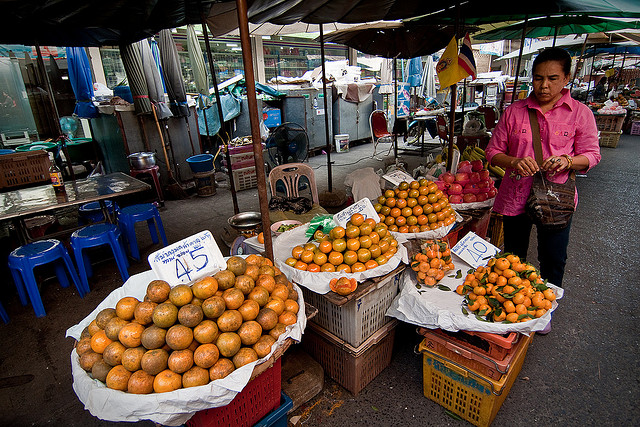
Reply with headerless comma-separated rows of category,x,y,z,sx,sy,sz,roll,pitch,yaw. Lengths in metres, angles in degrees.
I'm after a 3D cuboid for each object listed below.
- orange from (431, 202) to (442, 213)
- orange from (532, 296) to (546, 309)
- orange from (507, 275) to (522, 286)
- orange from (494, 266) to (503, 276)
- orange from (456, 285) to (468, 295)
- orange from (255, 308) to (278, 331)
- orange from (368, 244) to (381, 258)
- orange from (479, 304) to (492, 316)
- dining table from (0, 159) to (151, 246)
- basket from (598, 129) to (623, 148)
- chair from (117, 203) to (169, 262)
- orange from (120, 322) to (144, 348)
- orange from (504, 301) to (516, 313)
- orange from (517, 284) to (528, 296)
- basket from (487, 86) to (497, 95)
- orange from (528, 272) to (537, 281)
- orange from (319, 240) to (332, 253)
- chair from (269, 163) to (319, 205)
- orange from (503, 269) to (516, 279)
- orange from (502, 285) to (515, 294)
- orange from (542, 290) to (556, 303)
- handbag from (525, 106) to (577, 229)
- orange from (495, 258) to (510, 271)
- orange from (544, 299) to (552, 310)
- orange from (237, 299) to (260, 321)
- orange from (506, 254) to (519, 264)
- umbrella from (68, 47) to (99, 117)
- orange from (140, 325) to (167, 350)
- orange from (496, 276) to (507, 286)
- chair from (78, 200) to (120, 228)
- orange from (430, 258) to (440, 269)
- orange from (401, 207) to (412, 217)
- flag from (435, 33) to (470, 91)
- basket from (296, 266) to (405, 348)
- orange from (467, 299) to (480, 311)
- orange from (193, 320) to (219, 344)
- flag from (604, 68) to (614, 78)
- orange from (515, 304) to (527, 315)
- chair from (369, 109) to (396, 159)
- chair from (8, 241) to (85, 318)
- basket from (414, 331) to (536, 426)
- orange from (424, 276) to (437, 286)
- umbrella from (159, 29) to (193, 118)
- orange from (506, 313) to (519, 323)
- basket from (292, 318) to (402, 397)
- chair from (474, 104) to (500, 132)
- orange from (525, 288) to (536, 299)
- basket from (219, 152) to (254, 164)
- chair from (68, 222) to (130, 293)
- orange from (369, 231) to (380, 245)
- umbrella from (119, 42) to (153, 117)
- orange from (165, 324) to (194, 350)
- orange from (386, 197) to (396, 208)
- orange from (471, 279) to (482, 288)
orange,1.187,-0.065,3.669,0.090,0.077,0.089,-1,23,23
orange,1.843,0.745,3.015,0.100,0.097,0.103,22,-2,32
orange,1.674,0.577,3.079,0.102,0.045,0.092,6,22,33
orange,1.577,0.515,3.168,0.060,0.053,0.059,-2,-13,7
orange,1.275,0.688,3.213,0.076,0.073,0.076,2,-6,11
orange,-0.405,0.797,2.683,0.158,0.150,0.086,-12,20,-16
orange,0.498,0.342,3.244,0.104,0.119,0.106,-3,-8,40
orange,1.400,0.807,3.030,0.084,0.082,0.086,25,-5,37
dining table,-3.639,-0.138,5.308,0.788,0.904,1.261,31,37,32
basket,8.442,-2.197,10.476,0.454,0.468,0.379,8,24,36
chair,-2.608,0.286,5.220,0.648,0.731,0.645,7,30,21
orange,-1.328,0.866,2.526,0.127,0.123,0.153,21,7,19
orange,1.585,0.779,2.988,0.086,0.084,0.051,0,21,20
orange,1.715,0.649,3.041,0.075,0.084,0.047,-3,1,-22
basket,7.352,-5.307,15.334,0.367,0.368,0.358,-1,14,-3
orange,1.836,0.543,3.120,0.068,0.079,0.068,5,7,12
orange,0.049,0.298,3.228,0.098,0.110,0.096,29,-29,-8
chair,-0.385,-0.499,5.081,0.640,0.844,0.631,-5,12,-4
orange,1.647,0.520,3.119,0.091,0.070,0.068,14,28,32
orange,1.588,0.644,3.024,0.072,0.058,0.058,-12,43,-27
orange,1.954,0.700,3.056,0.090,0.085,0.087,-8,15,-6
handbag,2.178,-0.432,3.391,0.450,1.155,0.350,4,22,28
orange,1.592,0.451,3.172,0.102,0.099,0.099,-4,-15,-8
orange,1.925,0.774,3.025,0.062,0.060,0.079,1,3,-42
orange,-0.527,0.712,2.641,0.145,0.135,0.134,6,-6,-8
orange,1.730,0.401,3.201,0.077,0.076,0.078,-3,10,26
umbrella,-4.628,-2.545,6.963,0.406,1.212,0.717,-21,24,-33
orange,-1.157,0.863,2.529,0.176,0.130,0.129,-12,23,-23
orange,1.578,0.584,3.111,0.088,0.065,0.060,-1,20,16
chair,-3.393,-0.017,5.603,0.504,0.493,0.500,12,19,38
orange,1.046,0.453,3.266,0.078,0.080,0.092,-7,41,26
orange,0.880,-0.021,3.647,0.085,0.046,0.084,10,48,20
flag,1.519,-1.784,4.239,0.432,0.801,0.090,-15,59,7
basket,0.340,0.699,3.362,0.829,0.413,0.764,-19,25,-38
orange,1.313,0.782,3.056,0.079,0.076,0.078,-17,-13,1
orange,-0.804,0.839,2.526,0.155,0.144,0.148,5,3,-42
flag,10.027,-4.908,12.396,0.172,0.236,1.881,9,24,38
orange,1.675,0.797,2.976,0.090,0.068,0.055,-4,19,7
chair,1.813,-2.205,9.769,0.898,1.154,0.818,14,27,36
chair,-3.437,0.853,4.507,0.633,0.696,0.609,-13,30,-25
basket,1.561,1.359,3.476,0.695,0.489,1.133,14,19,39
orange,0.998,0.613,3.263,0.089,0.086,0.084,-1,7,-42
umbrella,-3.027,-2.877,7.420,0.318,1.655,0.513,-15,21,-22
orange,1.590,0.861,2.965,0.068,0.068,0.082,30,60,20
basket,0.241,1.321,3.553,0.720,0.460,0.913,-11,14,-43
chair,4.325,-2.504,9.219,0.428,0.545,0.543,2,21,23
orange,1.785,0.677,3.040,0.083,0.041,0.081,-15,8,4
basket,-1.674,-1.222,7.683,0.578,0.277,0.871,10,17,44
chair,-2.949,0.611,4.808,0.588,0.665,0.604,-14,9,-32
orange,0.505,0.223,3.327,0.096,0.111,0.097,-1,21,-1
umbrella,-3.472,-2.571,6.821,0.322,1.245,0.255,-15,21,-22
orange,-0.976,0.873,2.555,0.164,0.169,0.164,-40,54,8
orange,0.730,-0.122,3.699,0.090,0.106,0.095,1,-1,29
orange,1.387,0.619,3.181,0.061,0.070,0.060,1,-1,3
